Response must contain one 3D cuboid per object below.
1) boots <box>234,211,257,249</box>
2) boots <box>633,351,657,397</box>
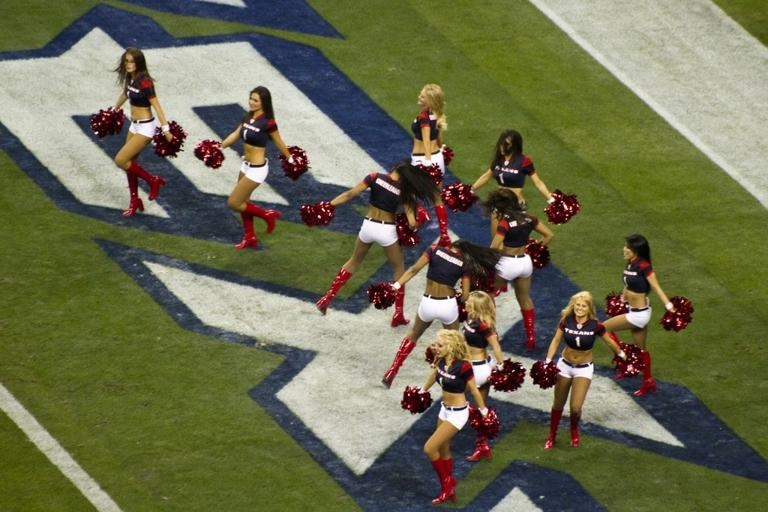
[{"bbox_3d":[-2.747,-0.465,27.869,0.676,0.863,0.269,7,40,2],"label":"boots"},{"bbox_3d":[4.710,2.180,25.420,0.626,1.034,0.271,-9,46,8],"label":"boots"}]
